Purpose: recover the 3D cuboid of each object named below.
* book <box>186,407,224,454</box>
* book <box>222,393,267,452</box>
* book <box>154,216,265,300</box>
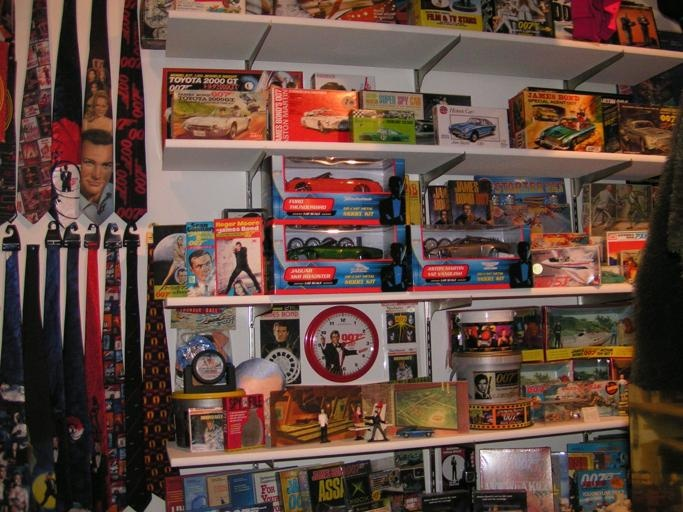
[{"bbox_3d":[-0.529,0.698,2.608,0.208,0.181,0.042,-15,-3,24],"label":"book"},{"bbox_3d":[-0.386,0.669,2.596,0.243,0.248,0.068,1,-13,-23],"label":"book"},{"bbox_3d":[-0.538,0.027,2.741,0.443,0.254,0.032,-1,-12,0],"label":"book"}]
